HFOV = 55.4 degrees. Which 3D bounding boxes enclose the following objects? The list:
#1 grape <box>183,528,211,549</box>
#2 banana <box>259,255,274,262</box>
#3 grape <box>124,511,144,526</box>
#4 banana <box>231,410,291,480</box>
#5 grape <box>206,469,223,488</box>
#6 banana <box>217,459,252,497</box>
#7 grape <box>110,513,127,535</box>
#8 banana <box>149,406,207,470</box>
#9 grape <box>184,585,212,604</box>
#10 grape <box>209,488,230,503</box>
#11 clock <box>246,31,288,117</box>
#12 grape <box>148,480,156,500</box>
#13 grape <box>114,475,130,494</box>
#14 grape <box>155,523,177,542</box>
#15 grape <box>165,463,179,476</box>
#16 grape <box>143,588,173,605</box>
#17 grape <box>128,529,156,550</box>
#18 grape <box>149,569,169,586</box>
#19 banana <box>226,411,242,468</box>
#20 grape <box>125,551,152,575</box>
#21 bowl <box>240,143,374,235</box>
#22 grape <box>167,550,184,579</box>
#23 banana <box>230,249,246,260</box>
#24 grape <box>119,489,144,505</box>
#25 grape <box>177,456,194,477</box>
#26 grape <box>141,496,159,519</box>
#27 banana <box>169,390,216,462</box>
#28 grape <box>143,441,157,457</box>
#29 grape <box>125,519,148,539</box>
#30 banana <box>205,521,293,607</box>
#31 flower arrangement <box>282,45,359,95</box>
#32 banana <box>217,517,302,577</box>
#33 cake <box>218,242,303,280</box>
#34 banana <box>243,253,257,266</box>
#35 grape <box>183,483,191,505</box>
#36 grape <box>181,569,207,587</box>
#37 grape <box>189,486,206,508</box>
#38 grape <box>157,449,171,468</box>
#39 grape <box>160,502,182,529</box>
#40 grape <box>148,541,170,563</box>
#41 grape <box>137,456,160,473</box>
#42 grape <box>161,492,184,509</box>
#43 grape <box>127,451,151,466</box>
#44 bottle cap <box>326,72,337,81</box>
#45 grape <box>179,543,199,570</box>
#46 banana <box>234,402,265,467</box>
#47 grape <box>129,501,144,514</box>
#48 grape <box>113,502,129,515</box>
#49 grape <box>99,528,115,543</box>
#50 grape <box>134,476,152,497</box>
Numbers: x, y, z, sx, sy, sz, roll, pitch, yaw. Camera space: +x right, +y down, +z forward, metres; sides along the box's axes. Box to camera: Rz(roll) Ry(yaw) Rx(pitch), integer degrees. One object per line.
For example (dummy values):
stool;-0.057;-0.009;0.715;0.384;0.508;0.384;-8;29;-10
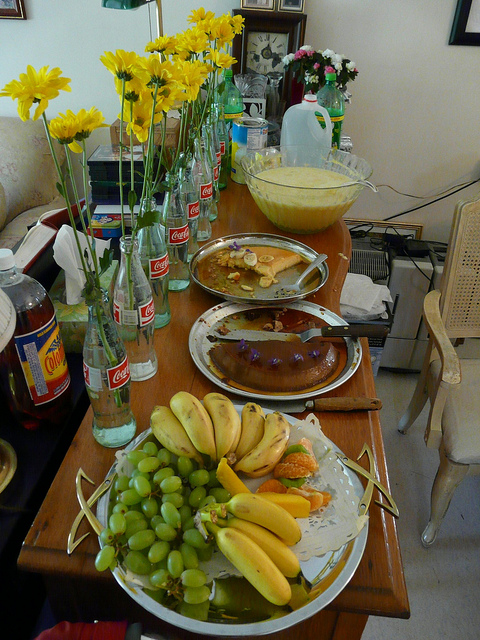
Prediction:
grape;-0.044;0.225;0.474;0.026;0.016;0.015;28;53;14
banana;0.064;-0.153;1.131;0.031;0.005;0.042;22;40;27
grape;-0.117;0.211;0.496;0.014;0.011;0.011;-31;11;-6
banana;0.038;0.158;0.607;0.064;0.035;0.132;0;25;16
grape;-0.034;0.189;0.554;0.012;0.013;0.025;-2;77;10
banana;-0.007;0.183;0.521;0.024;0.042;0.045;-21;39;-29
grape;-0.128;0.212;0.479;0.013;0.019;0.010;12;-7;-41
banana;-0.088;0.139;0.638;0.037;0.050;0.120;-28;53;-28
grape;-0.040;0.260;0.438;0.023;0.014;0.014;3;46;-31
grape;-0.023;0.200;0.527;0.019;0.012;0.012;8;18;-5
clock;0.109;-1.106;2.052;0.219;0.466;0.035;3;-5;0
grape;-0.102;0.196;0.525;0.008;0.005;0.016;-6;61;-4
grape;-0.139;0.191;0.535;0.012;0.014;0.021;-28;23;42
grape;-0.076;0.219;0.476;0.020;0.015;0.012;25;-1;-2
grape;-0.087;0.185;0.570;0.010;0.009;0.014;-8;6;-2
grape;-0.079;0.269;0.447;0.020;0.015;0.006;26;82;9
grape;-0.101;0.223;0.472;0.025;0.013;0.014;-15;68;-47
grape;-0.078;0.246;0.444;0.017;0.013;0.013;-23;17;41
banana;-0.002;0.152;0.578;0.010;0.020;0.059;17;66;-13
grape;-0.103;0.245;0.462;0.027;0.018;0.017;4;34;4
bowl;0.162;-0.360;1.338;0.289;0.154;0.308;11;34;-8
grape;-0.063;0.238;0.446;0.013;0.013;0.022;-16;52;18
banana;-0.007;-0.163;1.132;0.025;0.009;0.027;-2;59;7
grape;-0.122;0.198;0.513;0.024;0.014;0.014;3;73;-14
grape;-0.065;0.177;0.554;0.013;0.023;0.013;-23;15;2
grape;-0.099;0.205;0.502;0.014;0.015;0.021;-5;66;2
banana;-0.066;0.127;0.598;0.035;0.036;0.109;-20;50;-6
grape;-0.113;0.159;0.573;0.014;0.018;0.014;0;5;-29
grape;-0.110;0.220;0.486;0.021;0.011;0.011;-30;20;-31
banana;0.011;0.243;0.458;0.023;0.027;0.087;-41;59;-7
flower arrangement;0.291;-1.000;1.785;0.186;0.103;0.190;-9;11;-44
banana;0.016;0.232;0.492;0.034;0.120;0.044;15;60;-40
cake;0.059;-0.154;1.136;0.135;0.043;0.124;7;42;10
banana;0.026;-0.148;1.114;0.023;0.011;0.033;-2;39;7
grape;-0.064;0.206;0.541;0.005;0.006;0.019;13;39;-12
grape;-0.045;0.246;0.437;0.020;0.012;0.014;11;49;-15
grape;-0.047;0.200;0.526;0.013;0.012;0.022;18;50;26
grape;-0.094;0.168;0.562;0.013;0.014;0.019;10;44;-5
grape;-0.074;0.206;0.486;0.016;0.016;0.028;-41;44;6
grape;-0.082;0.232;0.459;0.012;0.013;0.023;9;43;35
grape;-0.108;0.170;0.540;0.021;0.012;0.013;-21;62;-37
grape;-0.074;0.196;0.503;0.020;0.014;0.013;20;55;7
grape;-0.125;0.171;0.562;0.025;0.014;0.014;5;45;-5
bottle cap;0.327;-0.875;1.643;0.035;0.023;0.036;-11;54;-10
grape;-0.052;0.238;0.461;0.013;0.013;0.025;23;31;-32
banana;0.020;0.150;0.612;0.022;0.030;0.085;23;31;5
grape;-0.117;0.210;0.515;0.008;0.009;0.012;-3;-6;-1
grape;-0.132;0.208;0.507;0.010;0.011;0.013;-21;70;3
grape;-0.137;0.220;0.469;0.012;0.015;0.012;-38;80;-12
grape;-0.108;0.184;0.517;0.014;0.013;0.022;-32;83;6
